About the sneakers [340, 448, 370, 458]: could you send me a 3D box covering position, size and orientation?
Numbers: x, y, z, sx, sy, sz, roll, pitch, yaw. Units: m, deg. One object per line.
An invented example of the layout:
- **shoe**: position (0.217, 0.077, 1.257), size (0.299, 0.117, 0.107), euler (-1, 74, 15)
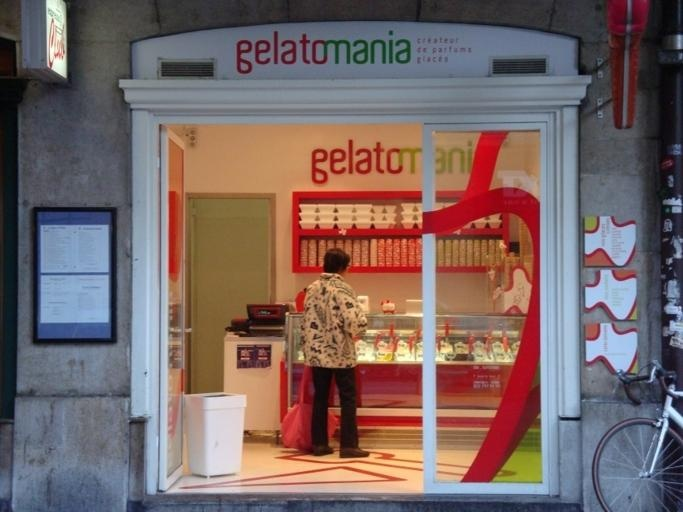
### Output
- **sneakers**: position (0.125, 1.822, 13.057), size (0.273, 0.120, 0.098), euler (-1, -6, -10)

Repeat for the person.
- **person**: position (-0.050, 0.894, 13.017), size (0.608, 1.937, 0.388), euler (-2, -6, 7)

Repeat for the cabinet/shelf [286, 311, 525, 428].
- **cabinet/shelf**: position (0.628, 1.192, 13.540), size (2.232, 1.188, 0.769), euler (-1, -20, 6)

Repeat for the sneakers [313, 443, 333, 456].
- **sneakers**: position (-0.171, 1.807, 13.131), size (0.072, 0.154, 0.219), euler (1, 3, 22)

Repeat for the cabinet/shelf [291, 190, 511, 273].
- **cabinet/shelf**: position (0.593, -0.276, 14.604), size (2.175, 0.982, 0.320), euler (-1, 9, 19)

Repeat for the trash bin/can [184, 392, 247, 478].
- **trash bin/can**: position (-0.981, 1.631, 12.834), size (0.595, 0.919, 0.645), euler (-3, -7, 17)

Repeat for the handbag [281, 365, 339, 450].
- **handbag**: position (-0.261, 1.437, 13.189), size (0.625, 0.858, 0.421), euler (11, -13, -42)
